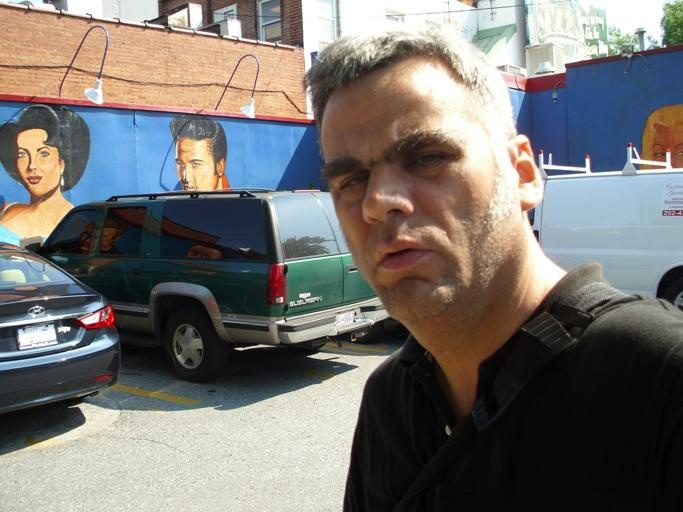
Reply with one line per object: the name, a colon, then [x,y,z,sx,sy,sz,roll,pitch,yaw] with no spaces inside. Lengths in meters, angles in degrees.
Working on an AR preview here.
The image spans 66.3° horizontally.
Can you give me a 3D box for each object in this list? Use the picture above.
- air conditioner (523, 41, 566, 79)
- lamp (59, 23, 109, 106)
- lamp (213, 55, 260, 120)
air conditioner: [8.632,-8.527,22.808,1.723,1.150,1.643,-11,15,-8]
lamp: [-6.213,-4.736,12.692,1.182,2.139,1.270,-3,5,-20]
lamp: [-2.841,-5.096,15.536,0.861,2.049,1.538,3,6,40]
